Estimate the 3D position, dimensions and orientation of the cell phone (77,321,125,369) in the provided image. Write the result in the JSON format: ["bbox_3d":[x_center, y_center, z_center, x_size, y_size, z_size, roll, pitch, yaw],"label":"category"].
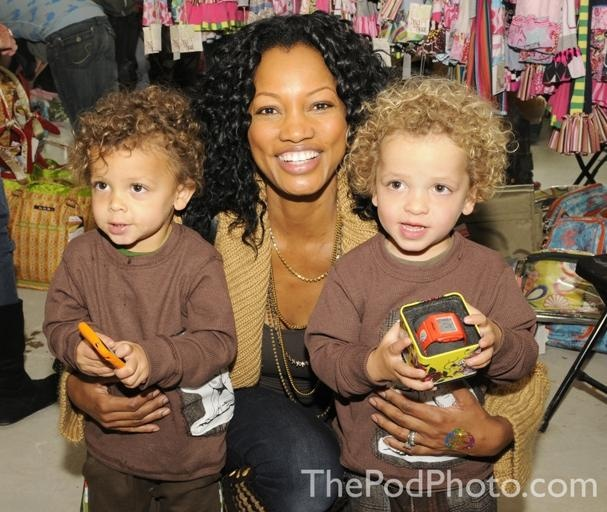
[{"bbox_3d":[-0.605,0.268,1.574,0.035,0.140,0.243,-53,10,-1],"label":"cell phone"}]
